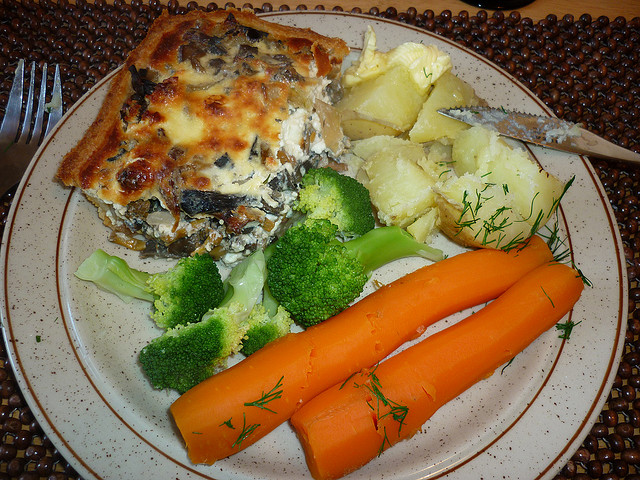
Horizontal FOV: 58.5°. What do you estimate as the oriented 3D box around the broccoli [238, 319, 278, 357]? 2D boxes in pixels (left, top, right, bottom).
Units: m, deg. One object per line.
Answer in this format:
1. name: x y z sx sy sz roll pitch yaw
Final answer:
1. broccoli: -0.426 0.570 3.830 0.211 0.242 0.115 -27 -55 1
